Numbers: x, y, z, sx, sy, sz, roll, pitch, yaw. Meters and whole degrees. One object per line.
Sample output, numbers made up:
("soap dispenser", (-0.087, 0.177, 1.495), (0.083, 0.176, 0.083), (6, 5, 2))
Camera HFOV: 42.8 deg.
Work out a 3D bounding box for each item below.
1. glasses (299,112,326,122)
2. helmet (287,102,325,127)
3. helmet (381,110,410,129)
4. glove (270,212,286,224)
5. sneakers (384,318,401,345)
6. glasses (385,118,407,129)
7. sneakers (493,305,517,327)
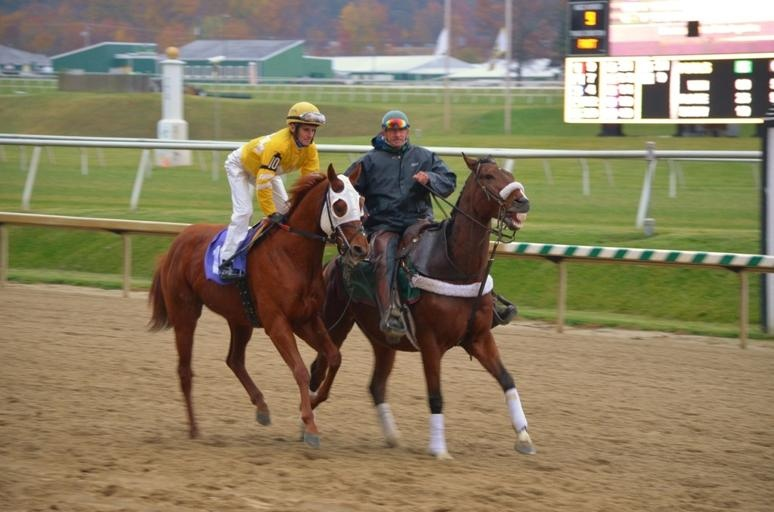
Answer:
("glasses", (-0.679, -1.221, 8.627), (0.155, 0.050, 0.116), (5, 3, 44))
("helmet", (-0.709, -1.248, 8.662), (0.317, 0.128, 0.214), (0, -2, 9))
("helmet", (0.071, -1.225, 8.958), (0.204, 0.162, 0.230), (0, -8, -4))
("glove", (-0.950, -0.329, 8.603), (0.098, 0.029, 0.125), (11, -16, -19))
("sneakers", (0.063, 0.657, 8.533), (0.149, 0.228, 0.149), (0, 11, 0))
("glasses", (0.084, -1.192, 8.868), (0.227, 0.088, 0.108), (-2, 10, -14))
("sneakers", (1.019, 0.532, 9.027), (0.199, 0.233, 0.080), (3, 46, -31))
